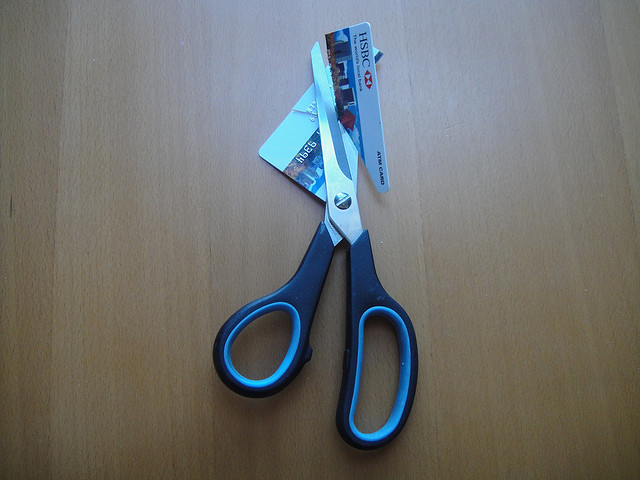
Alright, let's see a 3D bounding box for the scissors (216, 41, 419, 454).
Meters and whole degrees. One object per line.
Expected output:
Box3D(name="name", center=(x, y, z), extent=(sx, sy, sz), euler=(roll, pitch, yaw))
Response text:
Box3D(name="scissors", center=(0.043, 0.032, 0.932), extent=(0.280, 0.398, 0.364), euler=(17, 38, 12))
